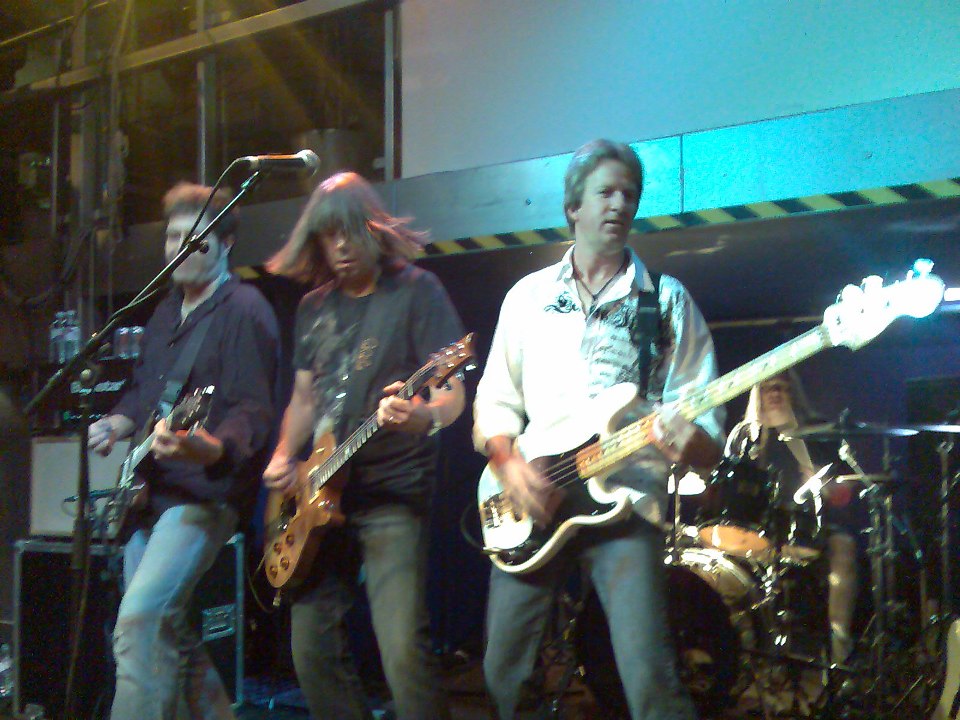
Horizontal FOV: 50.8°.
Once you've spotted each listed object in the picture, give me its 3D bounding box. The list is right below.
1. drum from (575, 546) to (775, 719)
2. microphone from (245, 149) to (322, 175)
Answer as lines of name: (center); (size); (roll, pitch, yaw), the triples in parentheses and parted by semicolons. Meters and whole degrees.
drum: (0.834, 1.198, 4.586); (0.834, 0.842, 0.831); (-13, -3, 27)
microphone: (-0.731, -0.756, 3.853); (0.334, 0.091, 0.105); (-9, -31, -25)
